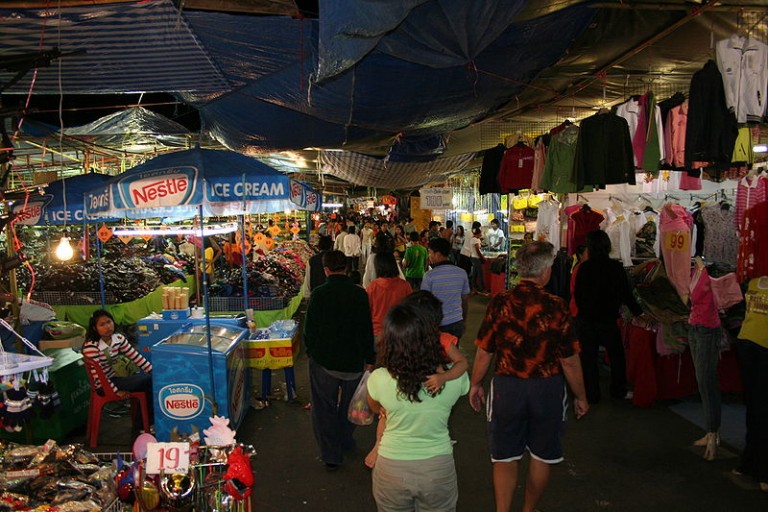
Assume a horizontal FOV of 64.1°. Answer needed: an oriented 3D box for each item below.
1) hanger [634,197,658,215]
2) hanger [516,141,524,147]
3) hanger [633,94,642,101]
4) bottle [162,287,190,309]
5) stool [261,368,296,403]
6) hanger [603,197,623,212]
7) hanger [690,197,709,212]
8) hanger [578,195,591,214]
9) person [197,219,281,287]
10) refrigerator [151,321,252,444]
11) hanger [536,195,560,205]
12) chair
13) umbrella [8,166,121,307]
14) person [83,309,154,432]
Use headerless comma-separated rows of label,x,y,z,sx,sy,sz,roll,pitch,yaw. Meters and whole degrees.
hanger,4.630,-0.854,10.691,0.444,0.236,0.621,-5,1,-1
hanger,2.100,-1.697,9.388,0.085,0.091,0.021,0,-14,4
hanger,3.195,-1.950,7.633,0.088,0.034,0.119,-6,43,18
bottle,-2.999,0.587,8.481,0.303,0.298,0.317,1,3,7
stool,-1.514,1.764,8.394,0.478,0.622,0.533,0,-12,-9
hanger,3.979,-0.849,10.402,0.236,0.202,1.227,4,15,20
hanger,5.306,-0.831,10.093,0.386,0.145,0.275,-18,1,-30
hanger,3.286,-0.819,9.950,0.207,0.339,0.183,18,-33,-4
person,-3.182,-0.028,12.115,1.046,0.818,1.457,-4,12,-1
refrigerator,-2.234,1.522,7.336,0.799,1.253,1.208,4,15,22
hanger,2.815,-0.935,10.389,0.299,0.128,0.409,2,-3,14
chair,-3.414,1.710,7.451,0.823,1.002,0.830,-1,-3,-15
umbrella,-4.143,-0.265,8.077,1.633,1.205,1.710,0,-4,-42
person,-3.260,1.403,7.368,0.776,1.529,0.547,-8,14,-7
